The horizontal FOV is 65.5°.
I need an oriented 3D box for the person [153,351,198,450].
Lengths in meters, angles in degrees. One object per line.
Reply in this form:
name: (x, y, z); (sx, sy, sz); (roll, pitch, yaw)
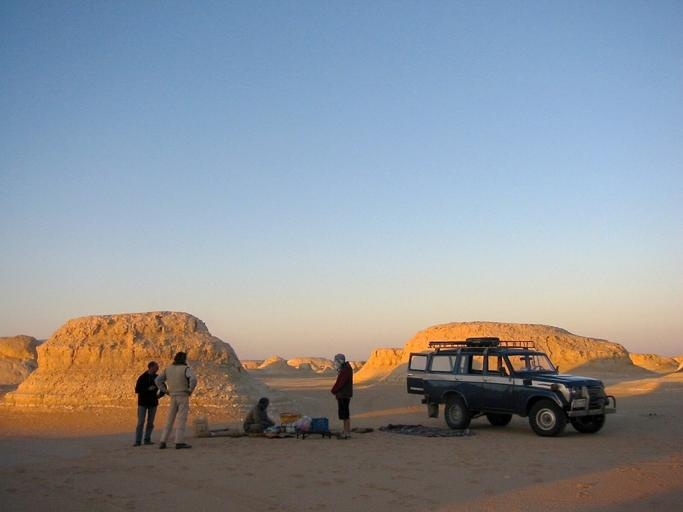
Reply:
person: (-3.890, 3.357, 12.500); (0.794, 2.164, 1.133); (6, -15, -27)

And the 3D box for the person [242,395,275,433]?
person: (-2.279, 4.388, 14.738); (0.783, 0.910, 0.995); (2, -13, -13)

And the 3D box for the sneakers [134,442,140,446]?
sneakers: (-4.888, 4.490, 12.735); (0.165, 0.069, 0.071); (-7, -5, 28)

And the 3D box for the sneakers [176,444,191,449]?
sneakers: (-3.633, 4.334, 12.246); (0.342, 0.126, 0.279); (3, -13, -16)
